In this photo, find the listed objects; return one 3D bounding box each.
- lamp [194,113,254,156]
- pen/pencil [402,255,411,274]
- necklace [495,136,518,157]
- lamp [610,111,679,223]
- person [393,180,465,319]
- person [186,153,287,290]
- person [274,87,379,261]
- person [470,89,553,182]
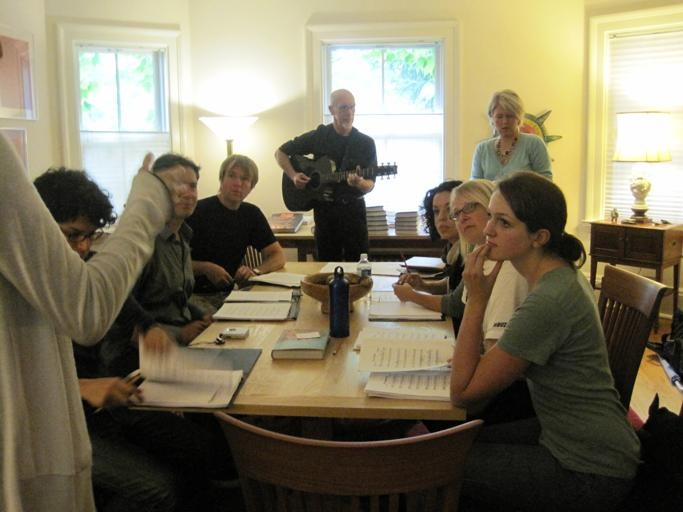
[{"bbox_3d":[-1.017,-1.129,4.968,0.445,0.473,0.442,-1,5,-6],"label":"lamp"},{"bbox_3d":[0.379,0.047,3.314,0.012,0.111,0.016,-22,4,-31],"label":"pen/pencil"},{"bbox_3d":[1.089,-0.724,3.771,0.105,0.145,0.038,3,-4,30],"label":"necklace"},{"bbox_3d":[2.350,-0.676,4.416,0.459,0.831,0.445,-1,1,-24],"label":"lamp"},{"bbox_3d":[0.481,-0.028,3.119,0.395,0.223,0.945,4,17,13],"label":"person"},{"bbox_3d":[-0.646,-0.133,3.331,0.656,0.915,0.554,4,9,-22],"label":"person"},{"bbox_3d":[-0.109,-0.384,4.340,0.752,1.738,0.520,1,19,8],"label":"person"},{"bbox_3d":[1.115,-0.666,3.798,0.585,0.875,0.423,1,8,33],"label":"person"}]
